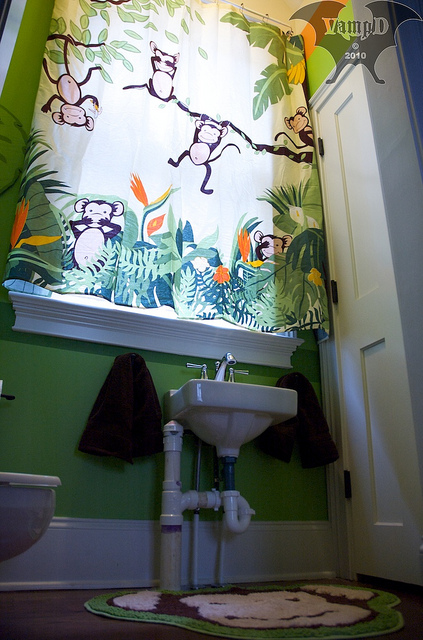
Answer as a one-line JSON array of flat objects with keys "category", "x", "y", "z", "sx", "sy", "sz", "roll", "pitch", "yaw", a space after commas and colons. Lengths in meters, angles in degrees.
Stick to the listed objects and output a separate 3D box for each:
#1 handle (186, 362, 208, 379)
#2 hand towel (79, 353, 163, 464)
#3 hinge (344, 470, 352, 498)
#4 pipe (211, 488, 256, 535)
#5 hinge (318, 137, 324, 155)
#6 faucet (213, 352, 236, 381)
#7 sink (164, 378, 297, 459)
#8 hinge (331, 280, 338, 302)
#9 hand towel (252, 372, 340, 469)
[{"category": "handle", "x": -0.048, "y": 0.182, "z": 1.724, "sx": 0.060, "sy": 0.068, "sz": 0.161, "roll": -2, "pitch": -13, "yaw": 3}, {"category": "hand towel", "x": -0.274, "y": 0.295, "z": 1.540, "sx": 0.289, "sy": 0.439, "sz": 0.175, "roll": 6, "pitch": -19, "yaw": -17}, {"category": "hinge", "x": 0.494, "y": 0.593, "z": 1.745, "sx": 0.029, "sy": 0.094, "sz": 0.018, "roll": -8, "pitch": -15, "yaw": 30}, {"category": "pipe", "x": 0.076, "y": 0.583, "z": 1.477, "sx": 0.101, "sy": 0.120, "sz": 0.070, "roll": -2, "pitch": -13, "yaw": 4}, {"category": "hinge", "x": 0.515, "y": -0.813, "z": 2.260, "sx": 0.007, "sy": 0.093, "sz": 0.025, "roll": 11, "pitch": -17, "yaw": -41}, {"category": "faucet", "x": 0.037, "y": 0.173, "z": 1.699, "sx": 0.037, "sy": 0.071, "sz": 0.163, "roll": 7, "pitch": -37, "yaw": -10}, {"category": "sink", "x": 0.071, "y": 0.281, "z": 1.460, "sx": 0.357, "sy": 0.260, "sz": 0.264, "roll": 5, "pitch": -15, "yaw": -14}, {"category": "hinge", "x": 0.517, "y": -0.119, "z": 2.016, "sx": 0.027, "sy": 0.099, "sz": 0.020, "roll": -6, "pitch": -14, "yaw": 23}, {"category": "hand towel", "x": 0.303, "y": 0.383, "z": 1.812, "sx": 0.273, "sy": 0.368, "sz": 0.232, "roll": 6, "pitch": -3, "yaw": -17}]
